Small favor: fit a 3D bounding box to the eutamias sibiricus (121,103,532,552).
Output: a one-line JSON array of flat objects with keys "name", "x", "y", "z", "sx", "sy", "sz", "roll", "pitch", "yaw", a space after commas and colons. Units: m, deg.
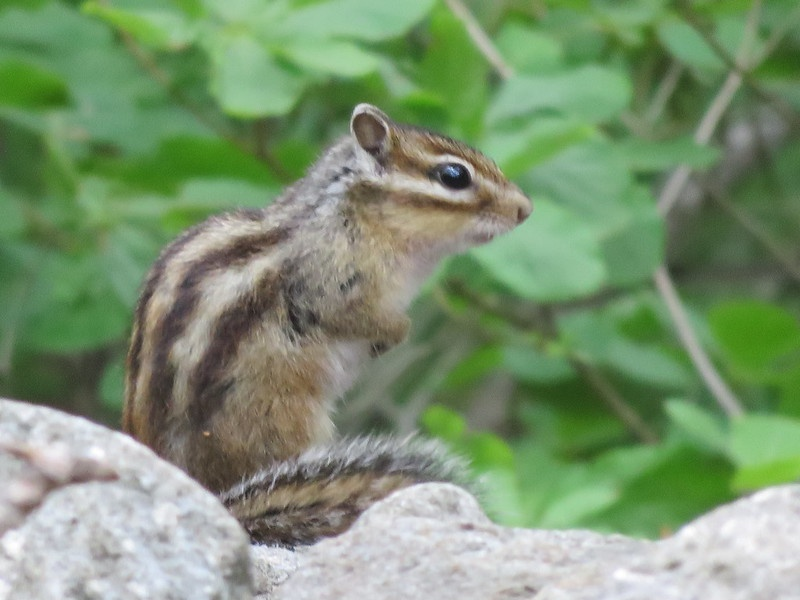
[{"name": "eutamias sibiricus", "x": -0.225, "y": 0.023, "z": 3.635, "sx": 1.140, "sy": 0.957, "sz": 0.864, "roll": -6, "pitch": 28, "yaw": -16}]
